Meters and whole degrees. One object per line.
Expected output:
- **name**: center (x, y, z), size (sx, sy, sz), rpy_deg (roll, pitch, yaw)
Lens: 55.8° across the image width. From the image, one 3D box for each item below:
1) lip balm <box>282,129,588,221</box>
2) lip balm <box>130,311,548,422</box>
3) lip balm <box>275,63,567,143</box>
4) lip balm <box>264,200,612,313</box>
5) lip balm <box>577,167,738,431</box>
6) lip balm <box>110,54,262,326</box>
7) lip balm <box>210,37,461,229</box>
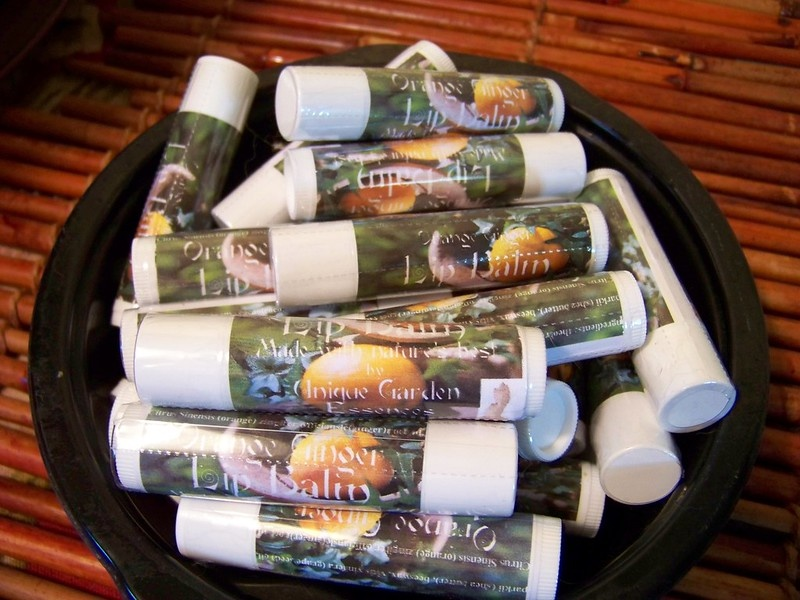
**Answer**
- **lip balm**: center (0.035, -0.159, 0.880), size (0.355, 0.079, 0.086), rpy_deg (1, 20, -16)
- **lip balm**: center (-0.128, 0.065, 0.819), size (0.556, 0.124, 0.136), rpy_deg (3, 5, -1)
- **lip balm**: center (0.023, -0.230, 0.906), size (0.414, 0.094, 0.106), rpy_deg (-1, 26, -15)
- **lip balm**: center (0.051, -0.042, 0.883), size (0.485, 0.115, 0.118), rpy_deg (-3, 28, -5)
- **lip balm**: center (0.261, -0.003, 0.866), size (0.094, 0.292, 0.091), rpy_deg (-25, -26, 4)
- **lip balm**: center (-0.250, -0.138, 0.917), size (0.089, 0.307, 0.081), rpy_deg (21, 10, 0)
- **lip balm**: center (-0.070, -0.188, 0.861), size (0.215, 0.057, 0.205), rpy_deg (-26, -12, -32)
